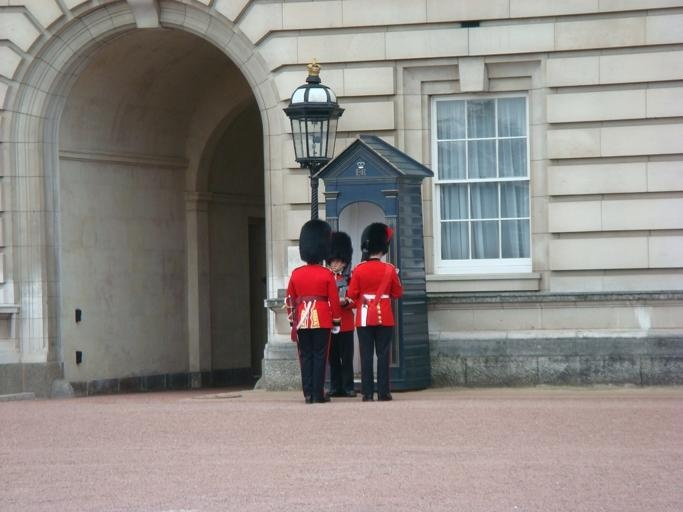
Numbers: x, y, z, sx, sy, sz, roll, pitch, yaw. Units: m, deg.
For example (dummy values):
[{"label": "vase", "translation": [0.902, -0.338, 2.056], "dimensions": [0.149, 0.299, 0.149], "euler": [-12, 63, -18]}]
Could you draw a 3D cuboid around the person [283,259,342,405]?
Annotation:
[{"label": "person", "translation": [-0.293, 0.765, 12.261], "dimensions": [0.557, 1.442, 0.270], "euler": [-1, -6, -2]}]

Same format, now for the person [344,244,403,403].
[{"label": "person", "translation": [0.334, 0.726, 12.281], "dimensions": [0.553, 1.488, 0.250], "euler": [-2, -6, 2]}]

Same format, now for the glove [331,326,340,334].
[{"label": "glove", "translation": [-0.078, 0.748, 12.354], "dimensions": [0.070, 0.096, 0.052], "euler": [11, 34, 3]}]

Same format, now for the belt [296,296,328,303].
[{"label": "belt", "translation": [-0.316, 0.427, 12.237], "dimensions": [0.319, 0.063, 0.059], "euler": [-3, -6, 12]}]

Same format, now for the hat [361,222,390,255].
[{"label": "hat", "translation": [0.350, -0.181, 12.495], "dimensions": [0.392, 0.403, 0.321], "euler": [-1, 18, 2]}]

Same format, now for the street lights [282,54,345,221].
[{"label": "street lights", "translation": [-0.311, -1.286, 12.799], "dimensions": [0.599, 1.773, 0.490], "euler": [-1, -6, -2]}]

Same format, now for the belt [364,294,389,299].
[{"label": "belt", "translation": [0.347, 0.415, 12.230], "dimensions": [0.260, 0.079, 0.063], "euler": [-1, -6, -7]}]

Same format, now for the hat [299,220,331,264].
[{"label": "hat", "translation": [-0.285, -0.164, 12.512], "dimensions": [0.342, 0.497, 0.222], "euler": [-1, -6, -2]}]
